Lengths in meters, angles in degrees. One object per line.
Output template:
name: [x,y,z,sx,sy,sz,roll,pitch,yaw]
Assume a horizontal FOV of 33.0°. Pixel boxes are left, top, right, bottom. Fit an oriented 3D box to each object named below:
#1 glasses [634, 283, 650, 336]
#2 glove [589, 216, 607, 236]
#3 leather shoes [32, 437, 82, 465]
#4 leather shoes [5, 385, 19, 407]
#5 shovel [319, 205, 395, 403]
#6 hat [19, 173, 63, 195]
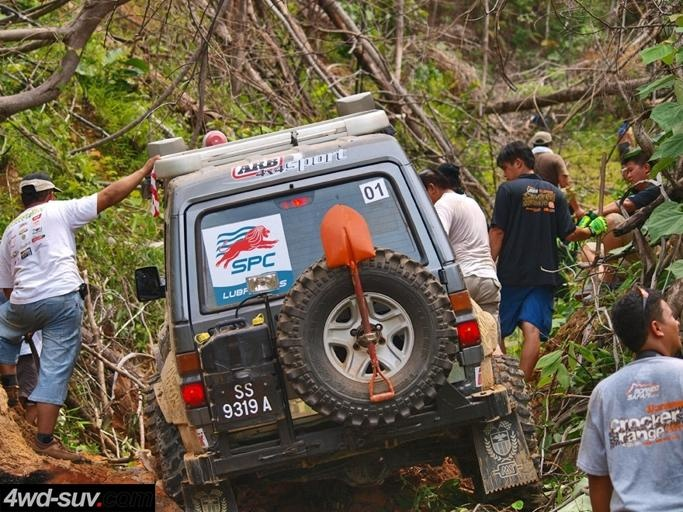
glasses: [2.241,0.380,8.690,0.052,0.224,0.205,-1,2,-13]
glove: [2.479,-0.284,11.320,0.176,0.156,0.645,-11,-7,12]
leather shoes: [-2.661,1.834,10.943,0.510,0.226,0.186,20,-3,-22]
leather shoes: [-3.196,1.359,11.238,0.112,0.183,0.171,-4,-12,3]
shovel: [0.131,0.330,9.589,0.459,1.838,0.202,-11,6,15]
hat: [-2.948,-0.703,11.180,0.262,0.159,0.187,-10,7,-36]
